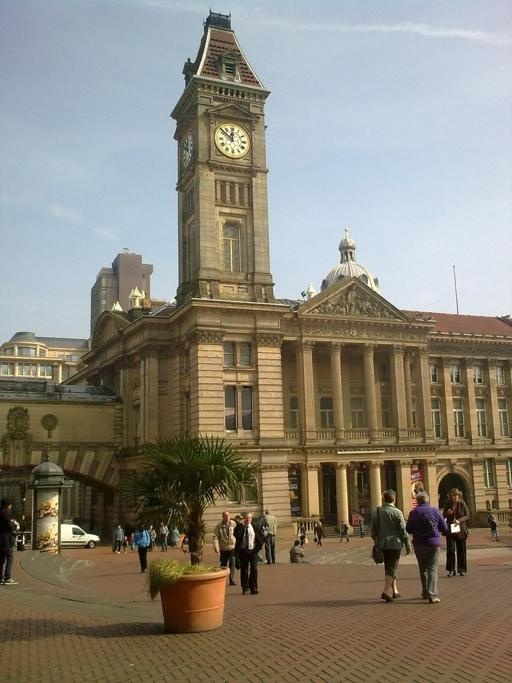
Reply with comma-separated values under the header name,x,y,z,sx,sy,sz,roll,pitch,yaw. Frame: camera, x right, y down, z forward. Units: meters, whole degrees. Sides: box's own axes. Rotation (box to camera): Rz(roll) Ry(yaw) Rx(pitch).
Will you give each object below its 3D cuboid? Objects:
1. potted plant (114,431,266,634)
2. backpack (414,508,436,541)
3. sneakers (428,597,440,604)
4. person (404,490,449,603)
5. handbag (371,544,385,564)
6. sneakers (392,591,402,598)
name,x,y,z,sx,sy,sz,roll,pitch,yaw
potted plant,-1.078,3.322,12.727,2.021,2.376,2.108,-12,-15,27
backpack,2.855,3.063,12.941,0.356,0.547,0.444,7,-14,-18
sneakers,2.955,4.214,12.665,0.150,0.038,0.106,7,-9,-39
person,2.998,3.518,13.433,0.644,1.799,1.548,-4,-11,13
handbag,2.045,3.521,12.883,0.191,0.309,0.454,-3,-10,7
sneakers,2.442,4.371,13.418,0.081,0.084,0.223,0,-9,15
